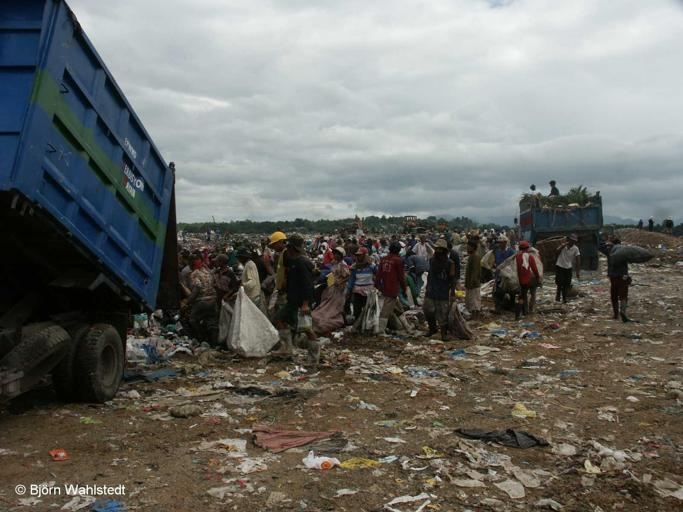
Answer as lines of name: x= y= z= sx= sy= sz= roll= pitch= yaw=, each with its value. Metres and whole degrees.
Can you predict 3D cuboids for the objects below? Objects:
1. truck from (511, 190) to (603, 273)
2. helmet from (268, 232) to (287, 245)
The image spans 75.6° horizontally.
truck: x=9.889 y=-1.731 z=21.534 sx=3.148 sy=2.547 sz=5.199 roll=-7 pitch=12 yaw=2
helmet: x=-1.260 y=-0.362 z=8.842 sx=0.303 sy=0.180 sz=0.399 roll=-5 pitch=1 yaw=38
